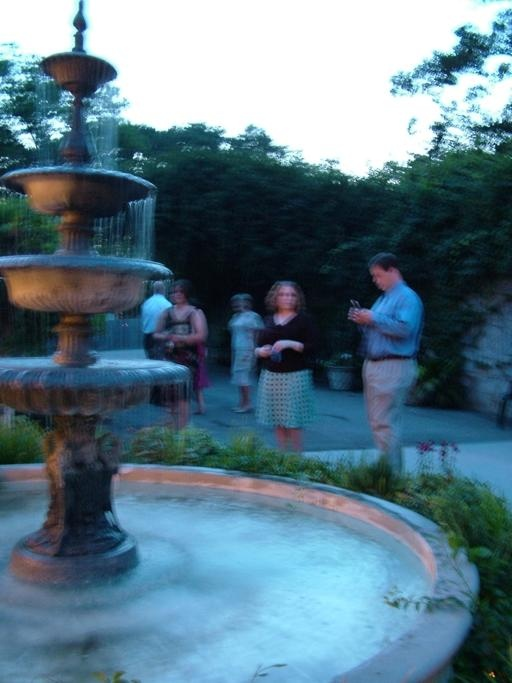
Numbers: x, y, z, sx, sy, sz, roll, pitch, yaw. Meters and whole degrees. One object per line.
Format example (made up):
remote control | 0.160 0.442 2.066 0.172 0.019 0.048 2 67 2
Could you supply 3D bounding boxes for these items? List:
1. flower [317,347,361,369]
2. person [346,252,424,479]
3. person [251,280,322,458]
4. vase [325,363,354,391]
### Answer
flower | 1.736 0.379 13.684 0.649 0.359 0.592 1 -4 -5
person | 0.890 0.113 4.586 0.453 1.471 0.538 5 6 32
person | 0.220 0.202 5.250 0.539 1.378 0.429 5 6 30
vase | 1.696 0.741 13.369 0.580 0.365 0.528 1 -3 -5
